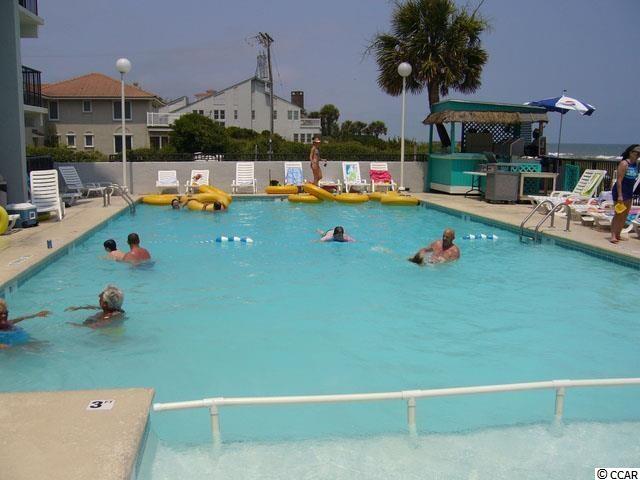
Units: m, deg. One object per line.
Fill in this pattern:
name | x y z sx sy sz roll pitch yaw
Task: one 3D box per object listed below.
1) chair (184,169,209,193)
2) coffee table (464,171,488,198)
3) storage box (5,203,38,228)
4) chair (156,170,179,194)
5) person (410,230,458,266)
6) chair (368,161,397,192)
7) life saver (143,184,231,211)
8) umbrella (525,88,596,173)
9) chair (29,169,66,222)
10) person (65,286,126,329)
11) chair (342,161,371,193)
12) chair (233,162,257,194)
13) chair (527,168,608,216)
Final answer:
chair | -4.325 -1.935 19.078 0.751 0.678 1.003 4 22 -4
coffee table | 5.356 -1.883 18.490 0.793 0.775 0.816 0 6 5
storage box | -6.424 -0.533 11.766 0.579 0.452 0.438 6 9 26
chair | -5.444 -2.061 19.409 0.818 0.836 0.763 -1 12 -11
person | 2.108 0.152 9.808 0.790 0.484 0.529 0 19 -32
chair | 2.220 -2.299 19.790 0.979 1.612 1.101 -2 10 -9
life saver | -4.033 -1.253 16.875 1.745 0.415 1.375 4 11 7
umbrella | 8.184 -3.771 18.326 1.890 2.103 1.846 7 10 19
chair | -6.488 -1.065 12.808 0.752 1.253 0.842 -6 13 -35
person | -2.841 0.853 6.887 0.737 0.563 0.535 1 18 -15
chair | 1.220 -2.183 19.504 0.930 1.263 1.033 -2 4 13
chair | -2.725 -2.232 19.691 0.876 1.092 1.208 -2 12 -7
chair | 6.391 -1.264 13.999 1.563 0.978 1.166 -4 12 -7
